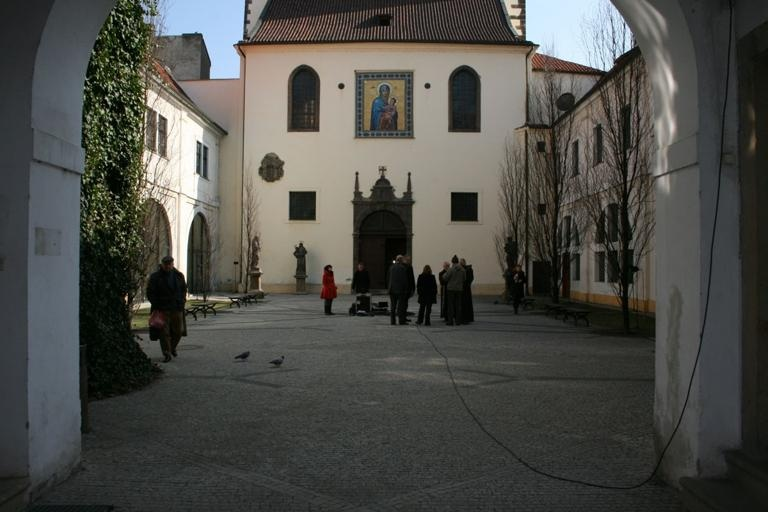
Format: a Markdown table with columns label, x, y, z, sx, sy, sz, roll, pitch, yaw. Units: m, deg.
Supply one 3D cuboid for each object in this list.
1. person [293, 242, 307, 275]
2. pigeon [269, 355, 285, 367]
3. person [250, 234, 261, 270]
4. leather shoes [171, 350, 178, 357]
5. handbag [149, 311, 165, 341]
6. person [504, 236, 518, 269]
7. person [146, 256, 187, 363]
| label | x | y | z | sx | sy | sz | roll | pitch | yaw |
| --- | --- | --- | --- | --- | --- | --- | --- | --- | --- |
| person | -4.027 | 0.119 | 35.666 | 0.579 | 1.561 | 0.795 | -1 | 3 | -8 |
| pigeon | -1.846 | 1.766 | 12.777 | 0.245 | 0.167 | 0.626 | -1 | 4 | -9 |
| person | -6.105 | -0.213 | 35.310 | 0.427 | 1.589 | 2.000 | -1 | 3 | -10 |
| leather shoes | -3.768 | 1.748 | 13.458 | 0.083 | 0.138 | 0.127 | 0 | 2 | -5 |
| handbag | -3.981 | 1.202 | 13.131 | 0.242 | 0.502 | 0.299 | -1 | 3 | -21 |
| person | 4.794 | -0.129 | 28.677 | 0.459 | 1.234 | 0.875 | 0 | 3 | 5 |
| person | -3.848 | 0.918 | 13.241 | 0.723 | 1.795 | 0.351 | -2 | 4 | -35 |
